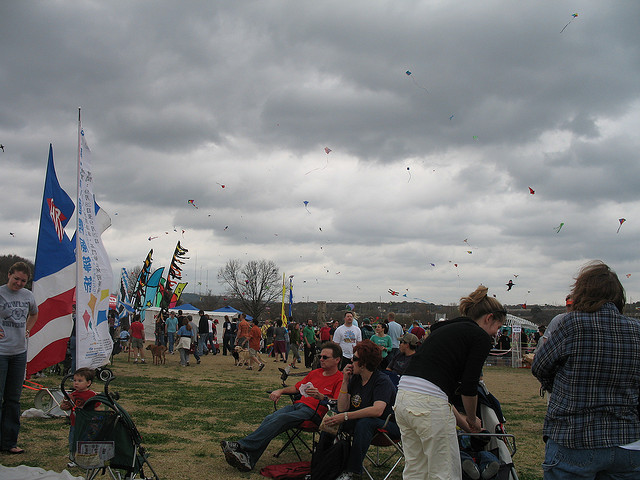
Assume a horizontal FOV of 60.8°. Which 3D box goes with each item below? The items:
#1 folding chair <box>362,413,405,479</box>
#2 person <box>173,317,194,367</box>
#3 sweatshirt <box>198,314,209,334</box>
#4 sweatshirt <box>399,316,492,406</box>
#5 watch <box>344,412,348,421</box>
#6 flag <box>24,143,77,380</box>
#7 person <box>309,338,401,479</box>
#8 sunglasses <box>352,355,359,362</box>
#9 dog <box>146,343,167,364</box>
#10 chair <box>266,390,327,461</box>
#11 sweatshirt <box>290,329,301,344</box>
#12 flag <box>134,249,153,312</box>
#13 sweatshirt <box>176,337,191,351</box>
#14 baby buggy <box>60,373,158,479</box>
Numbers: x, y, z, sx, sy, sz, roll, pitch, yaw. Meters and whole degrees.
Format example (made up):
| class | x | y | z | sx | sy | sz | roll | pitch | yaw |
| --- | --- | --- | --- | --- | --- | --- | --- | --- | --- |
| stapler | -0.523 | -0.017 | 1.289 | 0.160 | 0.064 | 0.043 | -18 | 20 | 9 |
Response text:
| class | x | y | z | sx | sy | sz | roll | pitch | yaw |
| --- | --- | --- | --- | --- | --- | --- | --- | --- | --- |
| folding chair | 0.814 | 2.533 | 6.856 | 0.490 | 0.902 | 1.817 | 1 | -8 | 7 |
| person | -4.698 | 3.536 | 19.162 | 0.568 | 1.637 | 1.761 | 4 | -8 | -14 |
| sweatshirt | -4.972 | 3.611 | 23.510 | 0.496 | 0.966 | 0.946 | 3 | -6 | 0 |
| sweatshirt | 1.203 | 1.102 | 5.074 | 0.759 | 0.791 | 0.346 | -1 | -8 | 19 |
| watch | 0.315 | 2.086 | 6.455 | 0.039 | 0.091 | 0.059 | 2 | -8 | 3 |
| flag | -4.484 | 0.373 | 9.281 | 0.777 | 3.688 | 0.698 | 9 | -10 | -43 |
| person | 0.448 | 2.193 | 6.878 | 1.279 | 1.910 | 0.878 | 26 | -34 | -28 |
| sunglasses | 0.442 | 1.444 | 6.648 | 0.040 | 0.084 | 0.160 | 3 | -8 | -10 |
| dog | -5.677 | 4.000 | 19.206 | 0.586 | 0.614 | 1.696 | 5 | -9 | -16 |
| chair | -0.299 | 2.602 | 7.586 | 0.512 | 0.697 | 0.596 | 3 | -9 | 4 |
| sweatshirt | -0.948 | 3.675 | 20.879 | 0.291 | 0.545 | 0.561 | 3 | -8 | -8 |
| flag | -9.769 | 2.212 | 30.280 | 0.614 | 3.227 | 1.276 | 5 | -8 | -22 |
| sweatshirt | -4.685 | 3.565 | 18.686 | 0.477 | 0.596 | 0.358 | 7 | 8 | -10 |
| baby buggy | -2.239 | 2.027 | 5.827 | 0.831 | 1.163 | 0.794 | 6 | -9 | -26 |
